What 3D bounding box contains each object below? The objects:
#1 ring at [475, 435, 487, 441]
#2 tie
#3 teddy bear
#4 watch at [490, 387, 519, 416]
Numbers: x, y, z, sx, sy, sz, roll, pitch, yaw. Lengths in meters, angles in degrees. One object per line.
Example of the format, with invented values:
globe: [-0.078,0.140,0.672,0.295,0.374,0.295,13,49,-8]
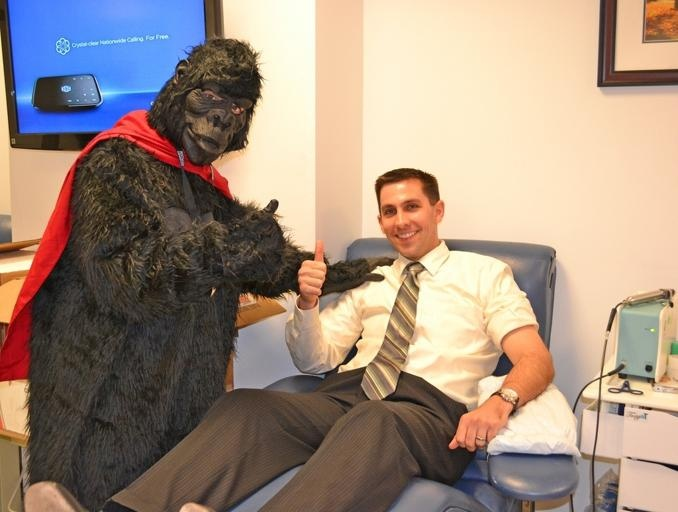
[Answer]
ring: [0.425,0.547,1.765,0.016,0.008,0.023,4,-5,-9]
tie: [0.206,0.255,2.099,0.142,0.490,0.038,5,-38,16]
teddy bear: [-0.597,0.023,1.791,0.880,1.395,0.418,-1,5,-7]
watch: [0.519,0.454,1.830,0.065,0.078,0.045,11,-25,-4]
